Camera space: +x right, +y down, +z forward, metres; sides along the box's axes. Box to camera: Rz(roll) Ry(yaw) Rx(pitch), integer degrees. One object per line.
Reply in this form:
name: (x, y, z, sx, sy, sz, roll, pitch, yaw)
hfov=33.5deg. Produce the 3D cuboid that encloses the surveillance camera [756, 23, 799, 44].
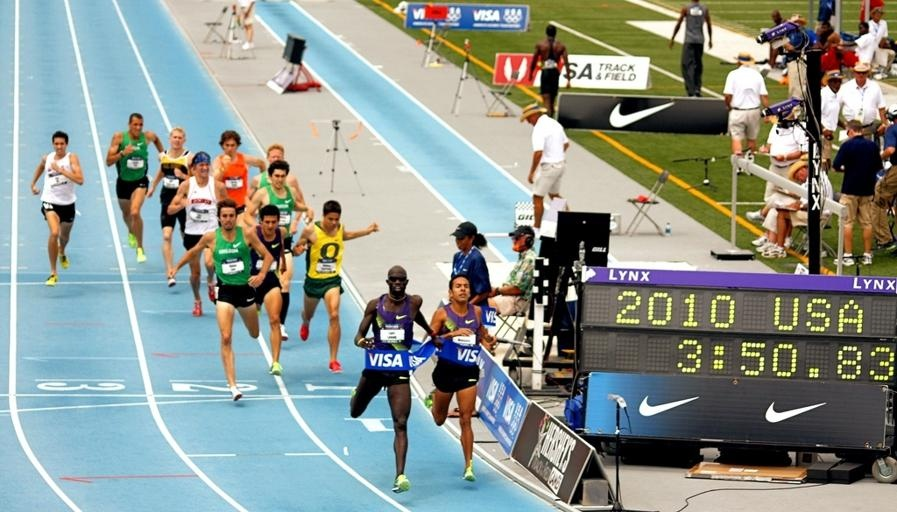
surveillance camera: (6.220, -4.208, 28.099, 0.625, 0.216, 0.377, -19, 10, 18)

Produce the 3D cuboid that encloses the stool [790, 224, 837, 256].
stool: (8.177, -0.306, 33.477, 0.762, 0.577, 1.222, -1, 10, 1)

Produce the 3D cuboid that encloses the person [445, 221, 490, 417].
person: (0.447, 0.946, 28.423, 1.005, 3.257, 0.738, 2, -1, -11)

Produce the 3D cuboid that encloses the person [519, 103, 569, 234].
person: (2.200, -2.026, 33.273, 0.916, 2.739, 0.902, -3, 5, -1)

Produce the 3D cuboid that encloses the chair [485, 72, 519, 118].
chair: (1.585, -4.579, 42.374, 0.897, 1.190, 0.718, 5, -2, 0)

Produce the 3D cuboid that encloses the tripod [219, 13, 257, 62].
tripod: (-6.772, -7.019, 48.219, 1.017, 0.451, 1.914, -21, -3, -22)

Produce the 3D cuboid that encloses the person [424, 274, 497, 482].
person: (0.197, 2.131, 26.459, 1.074, 3.628, 0.981, -3, 5, -1)

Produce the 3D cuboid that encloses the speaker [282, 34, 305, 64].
speaker: (-4.420, -5.958, 43.059, 0.508, 0.851, 1.086, -4, 5, -11)

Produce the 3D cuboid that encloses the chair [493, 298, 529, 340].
chair: (1.197, 1.195, 29.415, 0.909, 0.812, 0.785, 1, 4, -8)

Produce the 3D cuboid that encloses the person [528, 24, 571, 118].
person: (2.724, -5.004, 40.045, 1.167, 2.596, 0.955, 1, 2, 21)

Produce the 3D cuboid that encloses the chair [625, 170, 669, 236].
chair: (4.677, -1.155, 35.247, 1.048, 1.190, 2.253, -2, 5, 7)

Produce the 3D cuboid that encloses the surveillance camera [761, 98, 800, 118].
surveillance camera: (6.316, -2.806, 28.185, 0.688, 0.339, 0.593, -2, 5, 12)
